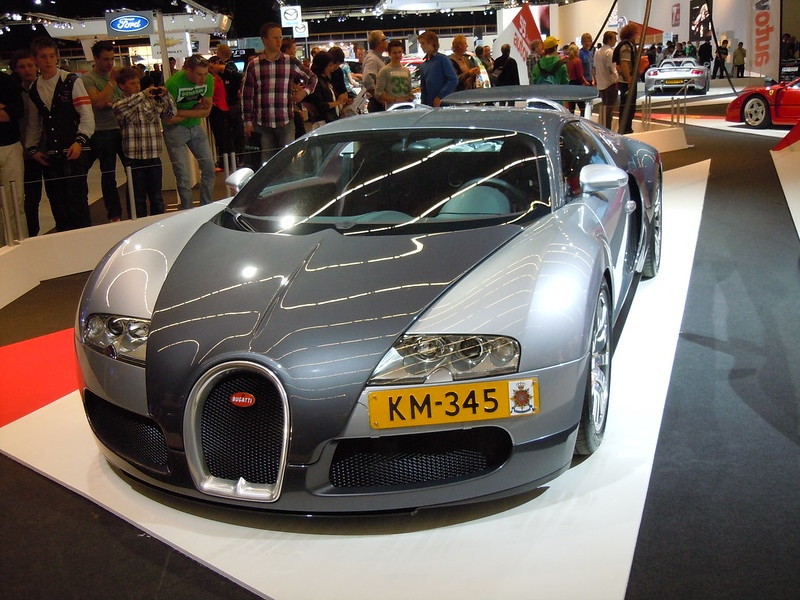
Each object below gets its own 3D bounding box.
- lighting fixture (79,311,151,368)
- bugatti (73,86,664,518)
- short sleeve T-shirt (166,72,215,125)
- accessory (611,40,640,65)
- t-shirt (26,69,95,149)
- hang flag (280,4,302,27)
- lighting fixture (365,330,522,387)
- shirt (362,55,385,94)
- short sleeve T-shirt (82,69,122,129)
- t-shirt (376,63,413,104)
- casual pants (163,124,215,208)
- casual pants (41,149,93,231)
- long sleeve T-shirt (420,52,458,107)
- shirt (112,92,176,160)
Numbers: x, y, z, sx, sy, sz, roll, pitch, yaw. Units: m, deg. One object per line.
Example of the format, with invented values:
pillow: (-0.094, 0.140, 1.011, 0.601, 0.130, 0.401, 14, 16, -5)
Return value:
lighting fixture: (-1.213, 0.163, 2.476, 0.214, 0.101, 0.288, 12, 12, -12)
bugatti: (-0.089, -0.095, 2.873, 2.744, 1.592, 1.981, -14, 20, -32)
short sleeve T-shirt: (-2.787, -2.644, 7.575, 0.673, 0.759, 0.327, -26, 72, -39)
accessory: (4.522, -4.993, 11.655, 0.392, 0.479, 0.481, 10, 53, 16)
t-shirt: (-3.818, -2.094, 6.438, 0.742, 0.924, 0.506, 0, 26, -3)
hang flag: (-6.579, -16.852, 34.608, 1.178, 1.346, 1.268, -2, 14, -3)
lighting fixture: (0.176, 0.219, 2.183, 0.287, 0.105, 0.294, 20, 34, 39)
shirt: (-0.448, -3.523, 9.123, 0.360, 0.647, 0.238, 1, 13, -13)
short sleeve T-shirt: (-3.940, -2.640, 7.602, 0.392, 0.837, 0.666, 10, 33, -10)
t-shirt: (-0.055, -3.223, 8.835, 0.665, 0.704, 0.375, -12, 16, -26)
casual pants: (-2.814, -1.867, 7.788, 0.479, 1.657, 0.353, -15, 49, -23)
casual pants: (-3.609, -1.225, 6.241, 0.202, 0.824, 0.331, -13, 6, 24)
long sleeve T-shirt: (0.536, -3.375, 8.957, 0.591, 0.825, 0.411, 10, 27, 34)
shirt: (-3.178, -2.176, 7.227, 0.690, 0.892, 0.466, -9, 18, -32)
